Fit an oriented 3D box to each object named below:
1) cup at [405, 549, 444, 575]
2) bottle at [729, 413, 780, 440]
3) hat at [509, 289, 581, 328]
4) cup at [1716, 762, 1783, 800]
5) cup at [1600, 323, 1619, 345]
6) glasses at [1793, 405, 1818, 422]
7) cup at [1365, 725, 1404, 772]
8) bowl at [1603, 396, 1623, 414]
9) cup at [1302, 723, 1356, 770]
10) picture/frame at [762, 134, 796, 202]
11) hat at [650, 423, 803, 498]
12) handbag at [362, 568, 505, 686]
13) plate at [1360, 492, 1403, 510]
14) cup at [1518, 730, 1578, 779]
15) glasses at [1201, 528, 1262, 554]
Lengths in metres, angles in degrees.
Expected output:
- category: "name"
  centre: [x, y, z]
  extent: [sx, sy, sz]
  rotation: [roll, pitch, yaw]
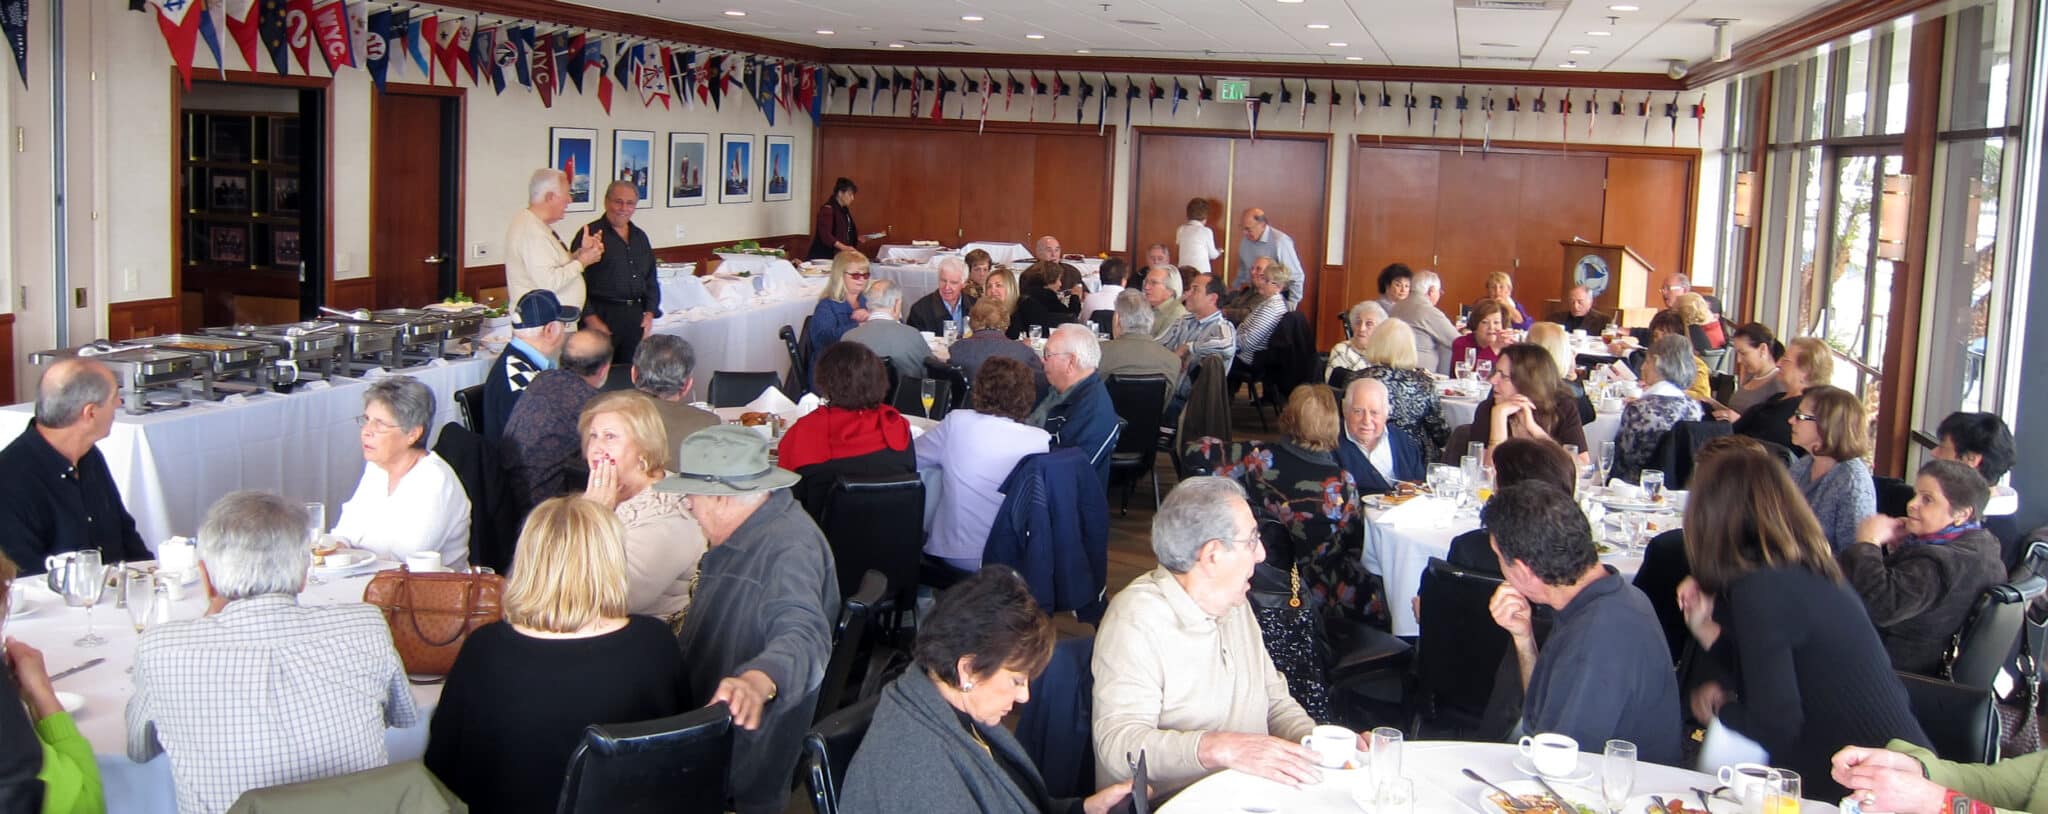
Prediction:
- category: "cup"
  centre: [-4.161, 1.067, 8.317]
  extent: [0.230, 0.111, 0.153]
  rotation: [-4, 12, -18]
- category: "bottle"
  centre: [-2.281, 0.141, 10.213]
  extent: [0.393, 0.161, 0.430]
  rotation: [2, 0, 0]
- category: "hat"
  centre: [-4.099, -0.849, 10.379]
  extent: [0.551, 0.248, 0.350]
  rotation: [-17, 24, -40]
- category: "cup"
  centre: [4.427, 2.267, 7.323]
  extent: [0.311, 0.158, 0.208]
  rotation: [-2, 2, 10]
- category: "cup"
  centre: [6.951, -0.860, 14.247]
  extent: [0.215, 0.219, 0.207]
  rotation: [-9, 49, 10]
- category: "glasses"
  centre: [6.084, 0.053, 9.332]
  extent: [0.125, 0.030, 0.109]
  rotation: [-9, 13, 4]
- category: "cup"
  centre: [2.216, 2.076, 7.342]
  extent: [0.207, 0.264, 0.259]
  rotation: [3, 11, 15]
- category: "bowl"
  centre: [5.727, -0.015, 11.681]
  extent: [0.185, 0.110, 0.164]
  rotation: [-6, 15, -13]
- category: "cup"
  centre: [1.881, 2.103, 7.466]
  extent: [0.341, 0.189, 0.234]
  rotation: [-1, 8, 7]
- category: "picture/frame"
  centre: [-3.923, -3.784, 19.271]
  extent: [0.060, 1.012, 1.149]
  rotation: [-2, 10, -34]
- category: "hat"
  centre: [-2.017, 0.347, 8.015]
  extent: [0.703, 0.205, 0.589]
  rotation: [-1, 10, -4]
- category: "handbag"
  centre: [-3.723, 1.410, 7.569]
  extent: [0.906, 0.593, 0.415]
  rotation: [0, 0, -5]
- category: "plate"
  centre: [2.821, 0.739, 9.468]
  extent: [0.299, 0.071, 0.245]
  rotation: [4, 10, 17]
- category: "cup"
  centre: [3.219, 2.131, 7.427]
  extent: [0.255, 0.144, 0.341]
  rotation: [-4, 3, -20]
- category: "glasses"
  centre: [1.351, 0.845, 7.604]
  extent: [0.345, 0.135, 0.080]
  rotation: [-3, 12, -22]
